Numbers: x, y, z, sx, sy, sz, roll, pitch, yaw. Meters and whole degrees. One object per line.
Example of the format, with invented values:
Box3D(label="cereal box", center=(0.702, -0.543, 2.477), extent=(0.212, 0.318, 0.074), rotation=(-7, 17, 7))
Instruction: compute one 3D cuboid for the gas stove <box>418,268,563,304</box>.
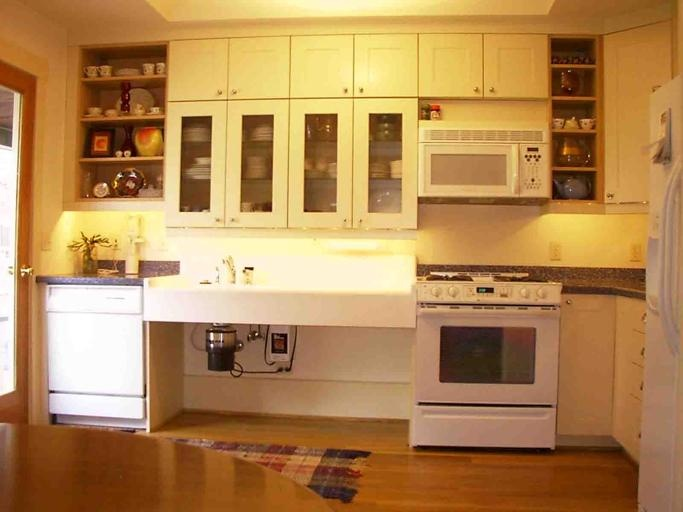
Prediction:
Box3D(label="gas stove", center=(0.943, 0.208, 4.077), extent=(0.929, 0.179, 0.375), rotation=(3, 10, 2))

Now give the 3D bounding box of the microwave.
Box3D(label="microwave", center=(0.990, -0.650, 4.359), extent=(0.899, 0.557, 0.484), rotation=(1, -5, 8))

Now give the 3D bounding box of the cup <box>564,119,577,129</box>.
Box3D(label="cup", center=(1.582, -0.914, 4.295), extent=(0.067, 0.066, 0.069), rotation=(5, 7, -1))

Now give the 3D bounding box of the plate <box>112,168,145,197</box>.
Box3D(label="plate", center=(-1.560, -0.536, 4.562), extent=(0.212, 0.217, 0.135), rotation=(5, -4, -1))

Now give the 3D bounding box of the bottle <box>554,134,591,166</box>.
Box3D(label="bottle", center=(1.599, -0.722, 4.330), extent=(0.234, 0.229, 0.227), rotation=(2, 3, 15))

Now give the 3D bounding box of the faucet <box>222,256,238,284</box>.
Box3D(label="faucet", center=(-0.814, 0.098, 4.541), extent=(0.107, 0.217, 0.165), rotation=(1, 10, -13))

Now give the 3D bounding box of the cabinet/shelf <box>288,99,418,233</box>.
Box3D(label="cabinet/shelf", center=(0.047, -0.663, 4.402), extent=(0.908, 0.889, 0.326), rotation=(-2, 12, -9))

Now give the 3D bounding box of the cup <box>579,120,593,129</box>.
Box3D(label="cup", center=(1.660, -0.892, 4.232), extent=(0.063, 0.052, 0.077), rotation=(-1, -2, 43))

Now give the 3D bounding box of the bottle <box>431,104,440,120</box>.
Box3D(label="bottle", center=(0.655, -0.997, 4.293), extent=(0.080, 0.108, 0.074), rotation=(3, 10, 0))

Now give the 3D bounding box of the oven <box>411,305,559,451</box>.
Box3D(label="oven", center=(0.830, 0.668, 4.324), extent=(1.094, 1.127, 0.832), rotation=(0, -4, 5))

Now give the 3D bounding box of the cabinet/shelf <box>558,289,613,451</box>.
Box3D(label="cabinet/shelf", center=(1.563, 0.695, 3.959), extent=(0.335, 0.883, 0.184), rotation=(2, 9, -5))

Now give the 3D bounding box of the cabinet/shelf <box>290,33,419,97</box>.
Box3D(label="cabinet/shelf", center=(0.103, -1.337, 4.397), extent=(0.879, 0.424, 0.303), rotation=(2, 12, 7))

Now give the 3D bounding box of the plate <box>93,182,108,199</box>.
Box3D(label="plate", center=(-1.759, -0.481, 4.563), extent=(0.111, 0.103, 0.235), rotation=(-1, 11, -21))

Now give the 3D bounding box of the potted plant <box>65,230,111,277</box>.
Box3D(label="potted plant", center=(-1.883, -0.008, 4.656), extent=(0.302, 0.292, 0.313), rotation=(-3, -4, 17))

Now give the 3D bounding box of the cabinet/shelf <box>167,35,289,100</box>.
Box3D(label="cabinet/shelf", center=(-0.769, -1.325, 4.485), extent=(0.879, 0.432, 0.302), rotation=(1, 6, 7))

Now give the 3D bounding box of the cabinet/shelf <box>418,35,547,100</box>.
Box3D(label="cabinet/shelf", center=(1.023, -1.364, 4.356), extent=(0.908, 0.436, 0.336), rotation=(7, 27, 23))

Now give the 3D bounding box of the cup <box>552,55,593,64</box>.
Box3D(label="cup", center=(1.591, -1.357, 4.296), extent=(0.273, 0.078, 0.154), rotation=(5, 11, 11))

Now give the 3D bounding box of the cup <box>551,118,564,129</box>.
Box3D(label="cup", center=(1.492, -0.912, 4.281), extent=(0.071, 0.055, 0.070), rotation=(1, 0, 0))

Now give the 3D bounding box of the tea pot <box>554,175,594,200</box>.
Box3D(label="tea pot", center=(1.602, -0.479, 4.303), extent=(0.214, 0.094, 0.177), rotation=(-4, 9, -7))

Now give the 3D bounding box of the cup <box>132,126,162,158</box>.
Box3D(label="cup", center=(-1.404, -0.815, 4.645), extent=(0.215, 0.235, 0.216), rotation=(2, -7, 0))
